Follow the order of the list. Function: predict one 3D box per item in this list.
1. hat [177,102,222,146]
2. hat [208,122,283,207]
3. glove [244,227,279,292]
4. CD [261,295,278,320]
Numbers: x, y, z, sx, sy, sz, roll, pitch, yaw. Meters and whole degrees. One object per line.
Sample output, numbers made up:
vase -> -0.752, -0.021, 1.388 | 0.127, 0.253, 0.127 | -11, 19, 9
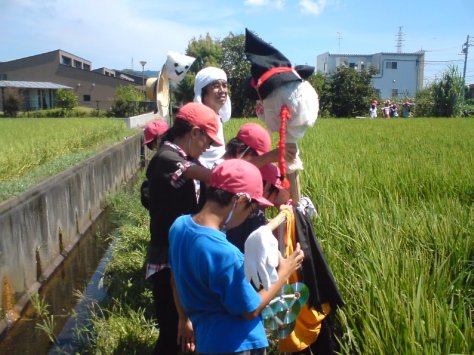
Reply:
hat -> -0.265, -0.447, 2.845 | 0.331, 0.189, 0.253 | 30, 11, -25
hat -> 0.092, -0.150, 3.192 | 0.419, 0.420, 0.676 | 13, 21, 41
glove -> 0.151, 0.486, 2.304 | 0.218, 0.401, 0.226 | -2, 12, -1
CD -> 0.209, 0.902, 2.588 | 0.038, 0.157, 0.138 | 14, 1, 26
